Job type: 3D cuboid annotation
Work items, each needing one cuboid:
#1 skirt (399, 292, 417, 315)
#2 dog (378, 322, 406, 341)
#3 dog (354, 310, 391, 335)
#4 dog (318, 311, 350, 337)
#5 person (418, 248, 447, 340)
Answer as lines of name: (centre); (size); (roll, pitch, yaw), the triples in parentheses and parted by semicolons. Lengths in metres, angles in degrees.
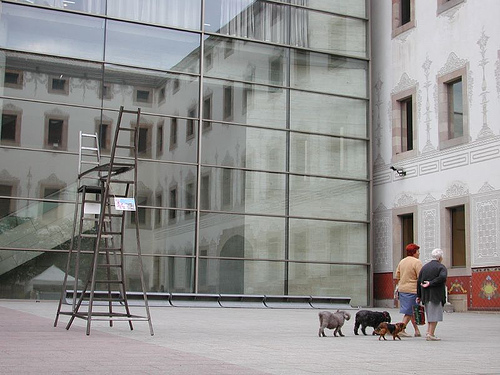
skirt: (3.281, 2.396, 12.716); (0.349, 0.452, 0.335); (0, -9, 15)
dog: (2.767, 2.795, 11.982); (0.724, 0.313, 0.285); (6, -10, -21)
dog: (2.635, 2.723, 12.590); (1.083, 0.626, 0.336); (-2, -10, -1)
dog: (1.709, 2.738, 12.462); (0.785, 0.549, 0.269); (10, -10, -28)
person: (3.620, 2.089, 12.160); (0.526, 1.759, 0.708); (0, -9, 15)
